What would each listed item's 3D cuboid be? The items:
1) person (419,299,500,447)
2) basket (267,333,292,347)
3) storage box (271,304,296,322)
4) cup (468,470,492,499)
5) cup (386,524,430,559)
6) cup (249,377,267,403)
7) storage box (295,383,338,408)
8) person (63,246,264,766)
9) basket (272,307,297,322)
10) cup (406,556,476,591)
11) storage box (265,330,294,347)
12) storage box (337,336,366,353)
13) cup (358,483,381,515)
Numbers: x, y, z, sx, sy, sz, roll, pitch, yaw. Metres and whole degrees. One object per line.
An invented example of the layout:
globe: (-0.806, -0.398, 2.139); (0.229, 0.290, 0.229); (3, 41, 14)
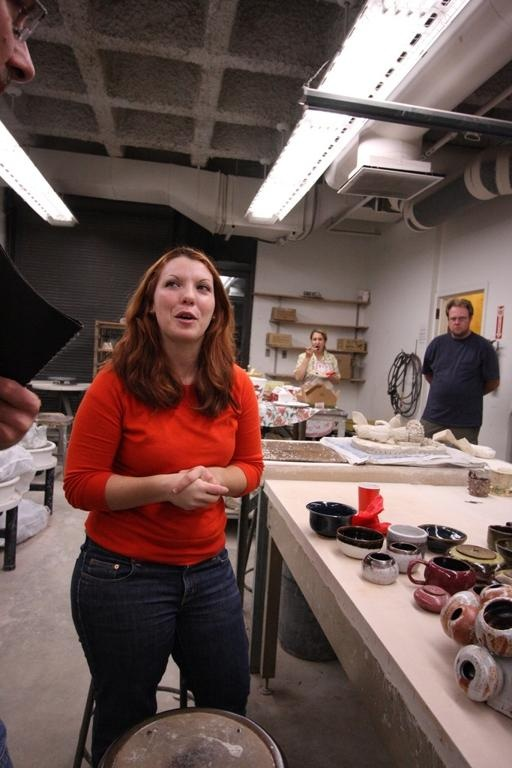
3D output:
person: (1.488, -0.091, 3.939); (0.557, 1.037, 0.407); (5, 5, 27)
basket: (0.291, -0.600, 7.281); (0.348, 0.188, 0.174); (3, 4, 8)
storage box: (0.373, -0.968, 7.242); (0.373, 0.194, 0.228); (5, -7, -6)
cup: (0.747, 0.342, 1.787); (0.080, 0.087, 0.086); (1, -4, 0)
cup: (0.323, 0.335, 1.138); (0.064, 0.046, 0.068); (2, -1, 0)
cup: (0.017, 0.039, 3.996); (0.176, 0.215, 0.174); (1, -5, 0)
storage box: (0.541, 0.103, 4.933); (0.323, 0.228, 0.334); (5, 4, 23)
person: (-0.184, 0.256, 1.212); (0.361, 1.157, 0.541); (6, 5, 32)
basket: (0.369, -0.959, 7.322); (0.373, 0.191, 0.227); (3, -6, -4)
cup: (0.350, 0.349, 0.982); (0.090, 0.039, 0.066); (-5, 0, 12)
storage box: (0.296, -0.621, 7.296); (0.248, 0.142, 0.240); (0, -4, -1)
storage box: (1.363, -0.550, 7.713); (0.274, 0.159, 0.268); (1, 2, -2)
cup: (0.292, 0.301, 1.376); (0.054, 0.078, 0.053); (7, 20, -3)
